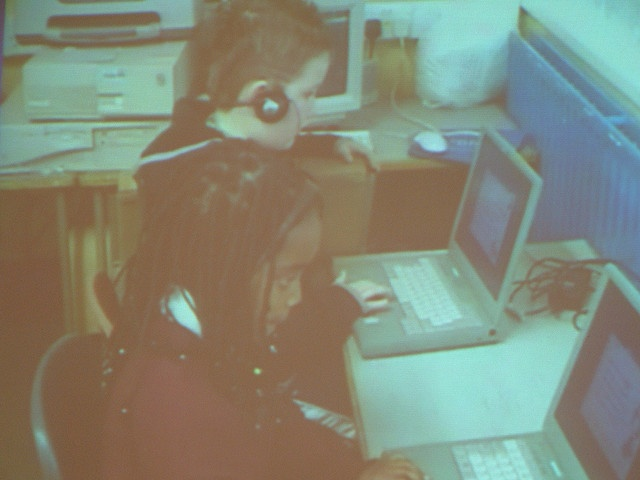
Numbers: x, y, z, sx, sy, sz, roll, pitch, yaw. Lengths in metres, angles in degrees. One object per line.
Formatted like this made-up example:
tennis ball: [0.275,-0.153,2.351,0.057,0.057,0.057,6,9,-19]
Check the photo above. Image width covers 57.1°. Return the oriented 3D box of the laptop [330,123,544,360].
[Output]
laptop: [0.140,-0.017,1.056,0.348,0.358,0.325,-5,34,-6]
